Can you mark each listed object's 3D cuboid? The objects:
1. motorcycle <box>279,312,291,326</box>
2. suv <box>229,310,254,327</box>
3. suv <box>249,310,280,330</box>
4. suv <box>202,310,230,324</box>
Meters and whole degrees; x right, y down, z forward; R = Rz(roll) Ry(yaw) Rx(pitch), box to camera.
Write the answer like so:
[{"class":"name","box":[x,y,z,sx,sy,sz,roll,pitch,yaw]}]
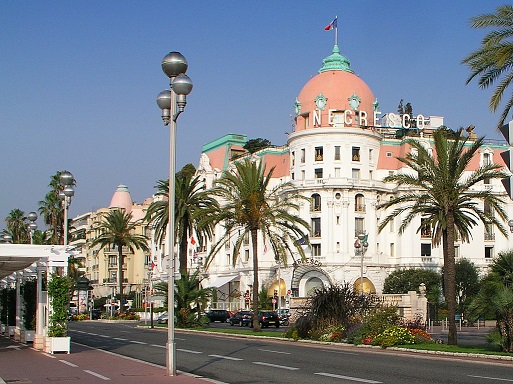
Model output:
[{"class":"motorcycle","box":[2.236,11.078,89.586,1.206,0.796,0.640,-3,-12,21]},{"class":"suv","box":[-1.166,11.013,89.234,1.033,0.797,2.117,2,-3,-24]},{"class":"suv","box":[0.542,10.472,84.814,1.600,1.366,2.680,2,-1,-26]},{"class":"suv","box":[-3.926,11.768,97.690,2.482,1.303,1.652,3,-6,-4]}]
